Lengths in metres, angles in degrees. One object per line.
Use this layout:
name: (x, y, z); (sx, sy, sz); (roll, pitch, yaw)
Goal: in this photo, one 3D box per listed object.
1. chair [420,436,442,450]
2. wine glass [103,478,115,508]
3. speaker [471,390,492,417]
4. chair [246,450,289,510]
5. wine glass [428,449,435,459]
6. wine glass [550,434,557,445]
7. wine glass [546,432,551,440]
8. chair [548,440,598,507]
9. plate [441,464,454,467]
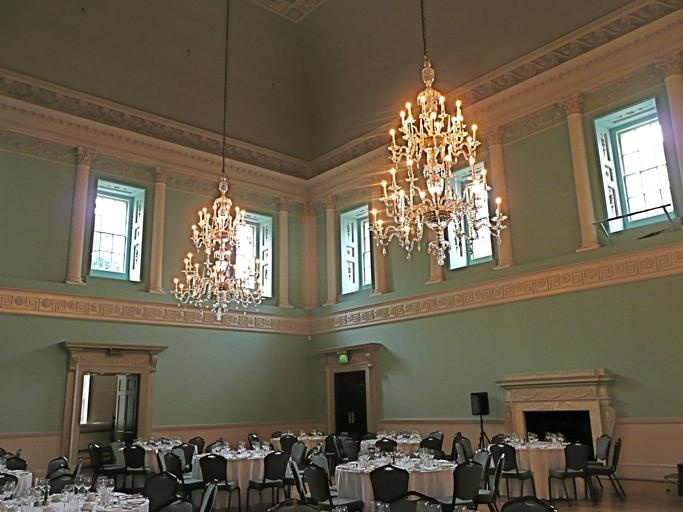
chair: (1.794, 3.732, 10.183); (0.397, 0.204, 0.513); (-2, -17, 5)
wine glass: (-2.574, 2.603, 5.634); (0.108, 0.271, 0.448); (6, -18, -22)
speaker: (3.128, 3.352, 11.538); (0.380, 0.521, 0.289); (-3, -15, 8)
chair: (-1.273, 3.801, 8.677); (0.681, 0.928, 0.919); (2, -16, -11)
wine glass: (1.366, 3.053, 7.887); (0.088, 0.123, 0.343); (-3, -17, 7)
wine glass: (3.916, 3.422, 9.487); (0.067, 0.248, 0.179); (-7, -14, 42)
wine glass: (4.084, 3.572, 10.118); (0.090, 0.099, 0.316); (0, -14, 14)
chair: (3.961, 3.654, 8.654); (0.884, 0.905, 0.604); (6, -17, -23)
plate: (1.509, 3.018, 7.347); (0.106, 0.024, 0.109); (0, -8, -2)
